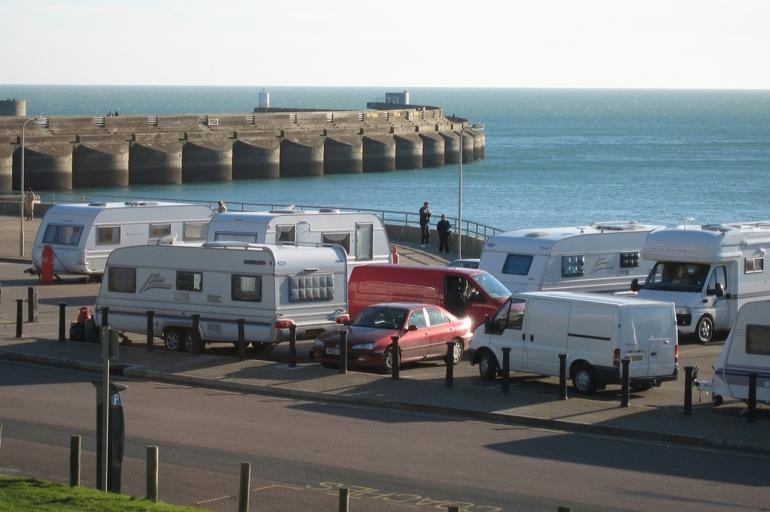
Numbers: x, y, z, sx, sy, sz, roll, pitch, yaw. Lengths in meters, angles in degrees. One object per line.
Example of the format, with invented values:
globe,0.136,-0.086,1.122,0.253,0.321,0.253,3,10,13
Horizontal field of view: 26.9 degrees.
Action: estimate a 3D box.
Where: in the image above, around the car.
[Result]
car,0.364,2.438,48.063,4.600,2.015,1.576,0,3,-28
